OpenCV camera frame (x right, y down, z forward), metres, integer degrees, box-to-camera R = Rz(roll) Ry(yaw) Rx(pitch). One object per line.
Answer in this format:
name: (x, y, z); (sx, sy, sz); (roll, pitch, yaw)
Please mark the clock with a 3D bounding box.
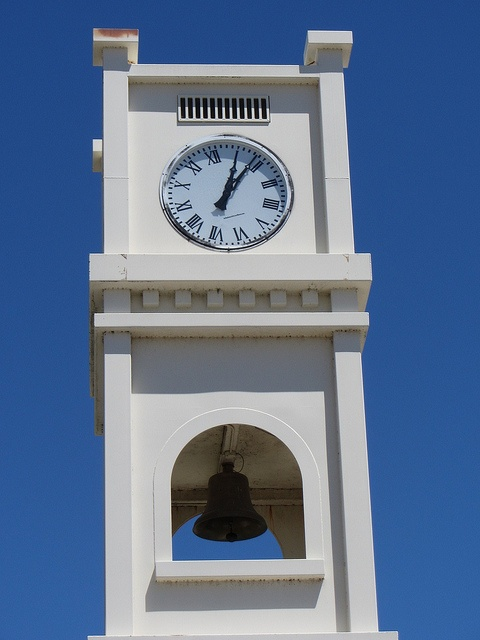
clock: (-0.242, -1.814, 31.239); (1.529, 2.115, 0.132); (1, -35, -3)
